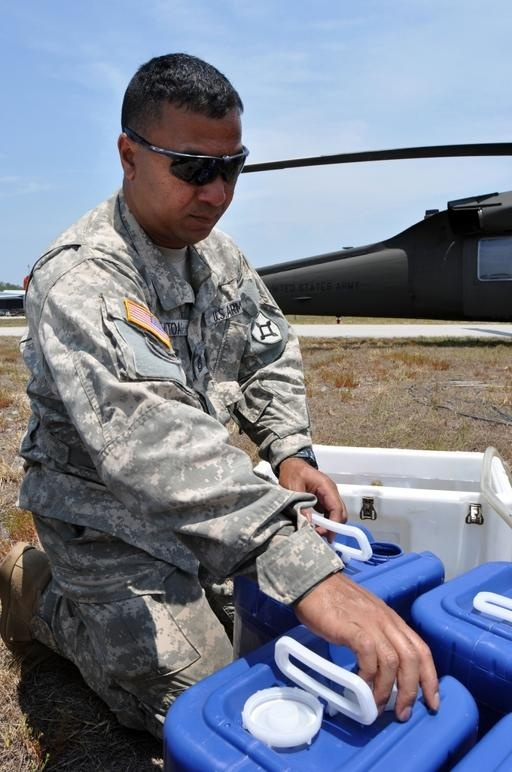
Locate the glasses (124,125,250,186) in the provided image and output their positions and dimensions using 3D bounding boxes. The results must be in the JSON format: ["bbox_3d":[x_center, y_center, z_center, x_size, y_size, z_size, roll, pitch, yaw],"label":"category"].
[{"bbox_3d":[-0.157,-0.514,1.494,0.241,0.128,0.110,-2,10,-12],"label":"glasses"}]
